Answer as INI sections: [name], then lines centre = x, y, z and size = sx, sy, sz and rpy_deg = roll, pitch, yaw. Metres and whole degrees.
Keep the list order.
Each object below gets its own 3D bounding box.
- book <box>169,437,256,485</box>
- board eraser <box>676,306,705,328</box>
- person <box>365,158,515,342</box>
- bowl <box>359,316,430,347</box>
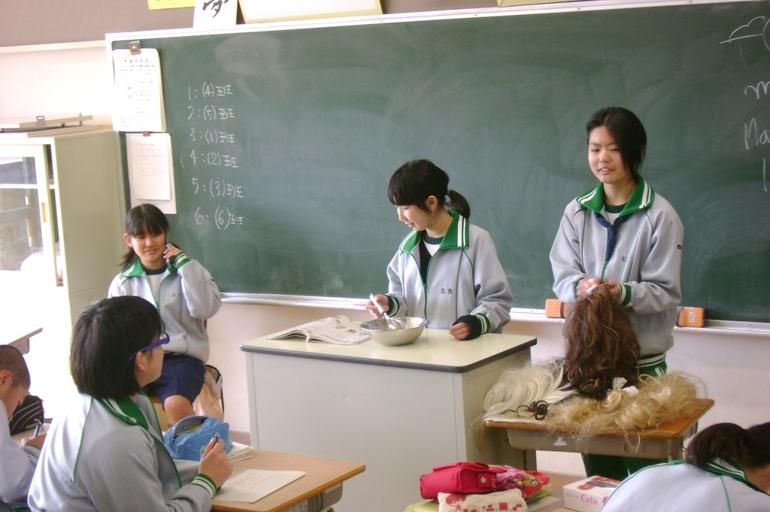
[book]
centre = -0.594, 0.732, 2.154
size = 0.159, 0.043, 0.161
rpy_deg = -2, 2, 30
[board eraser]
centre = 1.581, 0.312, 3.071
size = 0.130, 0.113, 0.068
rpy_deg = 5, 10, 42
[person]
centre = 0.272, -0.041, 2.811
size = 0.621, 0.818, 0.321
rpy_deg = 1, 4, 15
[bowl]
centre = 0.034, 0.343, 2.714
size = 0.304, 0.110, 0.208
rpy_deg = 0, 3, 6
